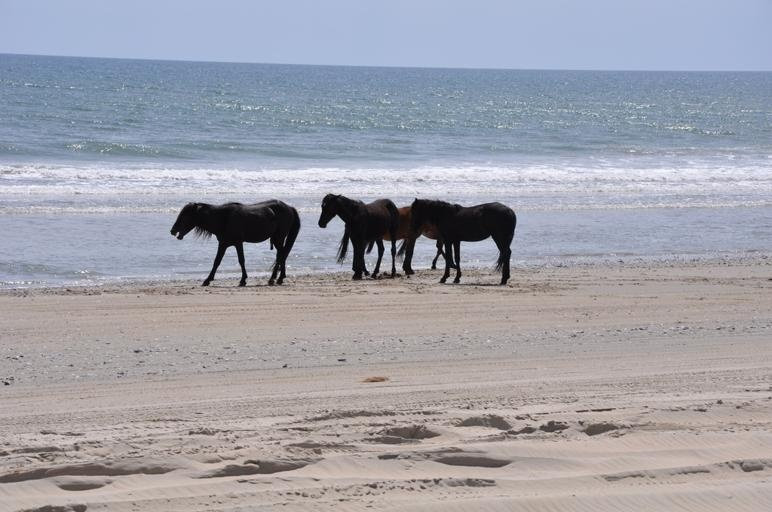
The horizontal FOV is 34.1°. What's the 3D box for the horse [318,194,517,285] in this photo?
[{"bbox_3d":[1.676,-0.352,28.837,2.925,1.857,1.048,9,13,28],"label":"horse"}]
